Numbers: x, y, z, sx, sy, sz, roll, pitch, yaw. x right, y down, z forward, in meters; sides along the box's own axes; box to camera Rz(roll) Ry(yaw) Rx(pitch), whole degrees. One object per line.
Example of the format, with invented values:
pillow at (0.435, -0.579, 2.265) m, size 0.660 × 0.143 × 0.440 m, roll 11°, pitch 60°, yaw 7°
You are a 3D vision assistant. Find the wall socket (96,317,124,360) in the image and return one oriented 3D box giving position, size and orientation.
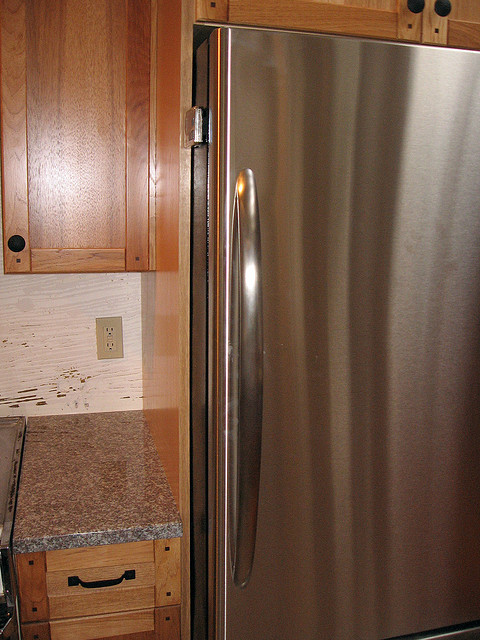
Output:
wall socket at (-0.385, 0.049, 1.751) m, size 0.076 × 0.165 × 0.018 m, roll -4°, pitch 41°, yaw -16°
